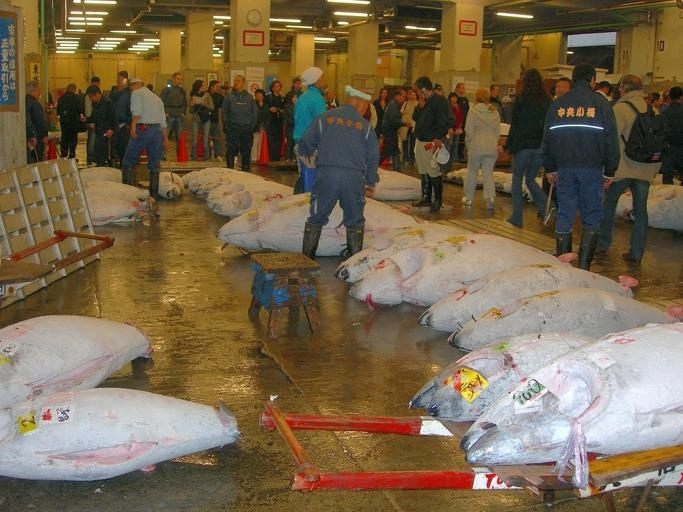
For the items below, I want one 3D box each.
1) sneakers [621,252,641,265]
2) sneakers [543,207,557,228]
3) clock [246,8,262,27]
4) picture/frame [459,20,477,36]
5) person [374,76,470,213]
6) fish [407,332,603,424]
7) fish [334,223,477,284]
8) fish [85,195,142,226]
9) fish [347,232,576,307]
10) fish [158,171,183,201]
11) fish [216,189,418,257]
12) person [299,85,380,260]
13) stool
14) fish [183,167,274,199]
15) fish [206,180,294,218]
[{"bbox_3d":[3.708,0.058,7.218,0.096,0.155,0.238,-15,39,-9],"label":"sneakers"},{"bbox_3d":[3.209,-0.591,8.669,0.144,0.448,0.172,17,-10,20],"label":"sneakers"},{"bbox_3d":[-2.412,-6.583,15.539,0.494,0.404,0.108,-2,9,-28],"label":"clock"},{"bbox_3d":[3.991,-7.159,17.652,0.710,0.506,0.160,-5,16,-26],"label":"picture/frame"},{"bbox_3d":[1.603,-1.946,9.965,0.689,2.278,1.445,4,14,9],"label":"person"},{"bbox_3d":[0.771,0.592,2.855,0.799,0.205,0.444,-21,18,-5],"label":"fish"},{"bbox_3d":[0.679,0.073,5.820,0.829,0.341,1.302,-18,2,-21],"label":"fish"},{"bbox_3d":[-3.414,-0.681,8.417,0.474,0.174,0.668,27,24,35],"label":"fish"},{"bbox_3d":[1.002,0.050,5.327,1.681,0.406,0.788,-11,7,-10],"label":"fish"},{"bbox_3d":[-3.427,-1.395,11.214,0.441,0.517,0.646,-3,14,-17],"label":"fish"},{"bbox_3d":[-0.569,-0.409,7.307,3.267,0.945,0.822,-4,-1,-5],"label":"fish"},{"bbox_3d":[-0.024,-0.918,6.330,0.904,1.934,0.573,0,14,-5],"label":"person"},{"bbox_3d":[-0.504,0.329,4.889,0.530,0.592,0.600,-3,14,-18],"label":"stool"},{"bbox_3d":[-2.232,-1.397,11.174,1.655,0.326,0.972,-2,11,-23],"label":"fish"},{"bbox_3d":[-1.437,-0.913,8.854,1.233,0.297,0.687,-12,20,-33],"label":"fish"}]
